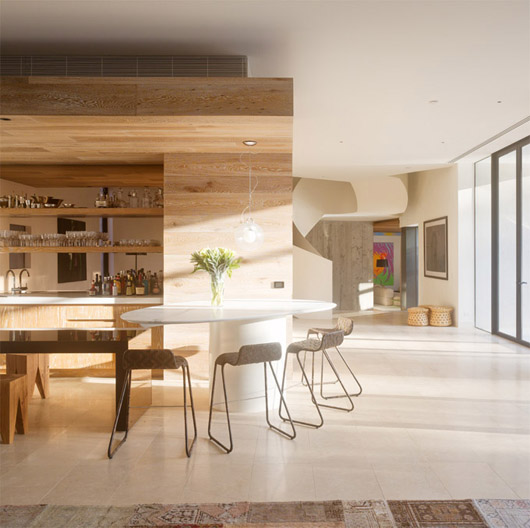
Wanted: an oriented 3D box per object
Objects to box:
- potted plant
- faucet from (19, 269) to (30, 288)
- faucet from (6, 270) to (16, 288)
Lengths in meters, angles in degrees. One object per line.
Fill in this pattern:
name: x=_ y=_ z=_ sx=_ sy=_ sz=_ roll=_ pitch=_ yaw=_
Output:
potted plant: x=-0.500 y=0.130 z=5.423 sx=0.504 sy=0.497 sz=0.492 roll=3 pitch=-13 yaw=-28
faucet: x=-3.209 y=0.190 z=7.575 sx=0.138 sy=0.266 sz=0.506 roll=-2 pitch=6 yaw=-22
faucet: x=-3.337 y=0.191 z=7.483 sx=0.095 sy=0.265 sz=0.162 roll=0 pitch=6 yaw=2
